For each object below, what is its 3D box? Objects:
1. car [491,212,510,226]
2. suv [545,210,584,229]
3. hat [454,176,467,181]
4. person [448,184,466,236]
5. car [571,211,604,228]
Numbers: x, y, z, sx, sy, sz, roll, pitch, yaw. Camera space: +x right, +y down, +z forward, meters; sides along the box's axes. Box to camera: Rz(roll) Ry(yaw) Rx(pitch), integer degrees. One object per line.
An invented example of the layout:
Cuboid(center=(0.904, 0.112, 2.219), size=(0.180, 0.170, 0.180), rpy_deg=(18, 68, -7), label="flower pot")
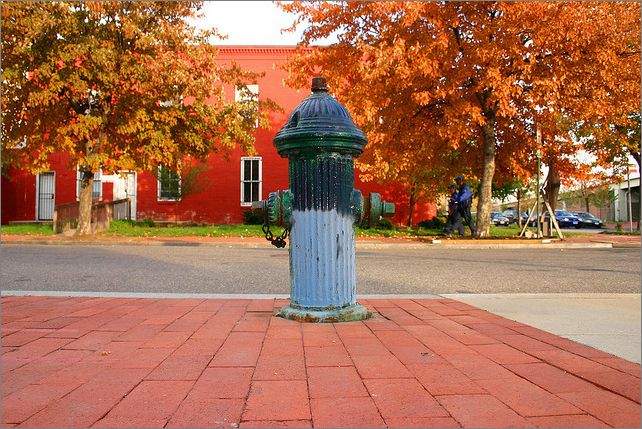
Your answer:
Cuboid(center=(16.482, 0.391, 59.187), size=(1.258, 1.005, 2.665), rpy_deg=(-1, -8, 3), label="car")
Cuboid(center=(16.018, 0.374, 41.835), size=(1.290, 0.907, 2.783), rpy_deg=(0, -6, -2), label="suv")
Cuboid(center=(5.444, -1.431, 25.025), size=(0.346, 0.153, 0.486), rpy_deg=(1, -1, 5), label="hat")
Cuboid(center=(5.251, -0.182, 24.808), size=(0.539, 1.990, 1.314), rpy_deg=(-1, -3, 15), label="person")
Cuboid(center=(21.365, 0.380, 51.788), size=(1.329, 0.970, 2.922), rpy_deg=(0, -7, -3), label="car")
